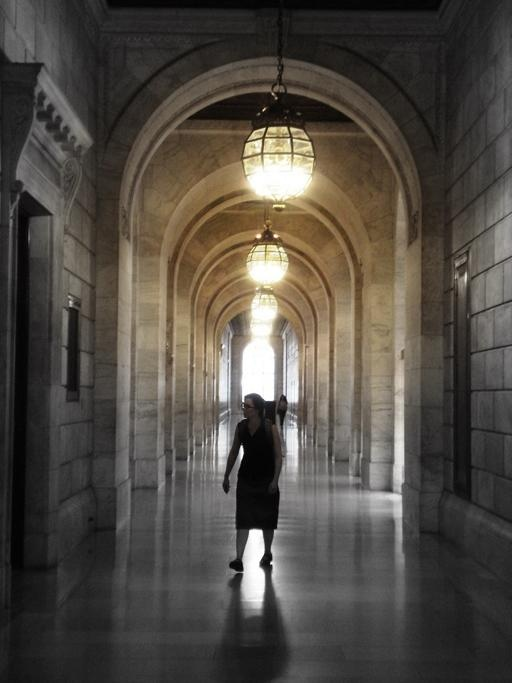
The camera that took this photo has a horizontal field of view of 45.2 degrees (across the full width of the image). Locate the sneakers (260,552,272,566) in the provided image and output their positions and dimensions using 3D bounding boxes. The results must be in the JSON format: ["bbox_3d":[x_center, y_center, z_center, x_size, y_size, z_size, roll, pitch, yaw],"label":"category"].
[{"bbox_3d":[0.096,1.929,5.429,0.069,0.124,0.235,0,-14,3],"label":"sneakers"}]

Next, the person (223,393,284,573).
[{"bbox_3d":[-0.025,1.236,5.525,0.516,1.490,0.908,1,-7,-2],"label":"person"}]
